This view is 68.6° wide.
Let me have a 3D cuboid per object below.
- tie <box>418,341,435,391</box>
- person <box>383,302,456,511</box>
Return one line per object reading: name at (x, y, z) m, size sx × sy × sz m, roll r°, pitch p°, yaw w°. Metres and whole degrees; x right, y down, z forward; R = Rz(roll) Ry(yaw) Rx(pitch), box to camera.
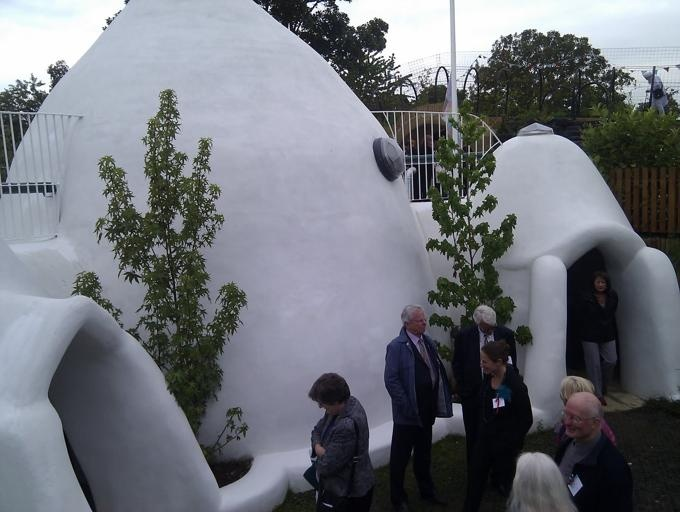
tie at (0.807, 1.072, 4.940) m, size 0.077 × 0.413 × 0.211 m, roll -9°, pitch -14°, yaw -7°
person at (0.779, 1.531, 4.974) m, size 0.671 × 2.093 × 0.394 m, roll -5°, pitch 5°, yaw -3°
